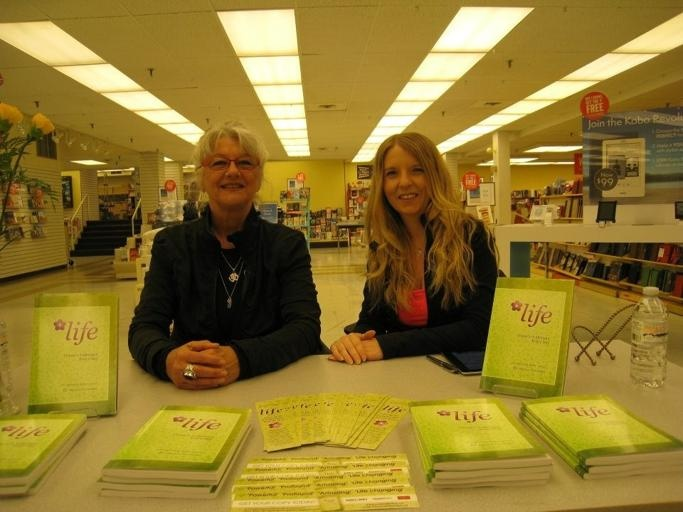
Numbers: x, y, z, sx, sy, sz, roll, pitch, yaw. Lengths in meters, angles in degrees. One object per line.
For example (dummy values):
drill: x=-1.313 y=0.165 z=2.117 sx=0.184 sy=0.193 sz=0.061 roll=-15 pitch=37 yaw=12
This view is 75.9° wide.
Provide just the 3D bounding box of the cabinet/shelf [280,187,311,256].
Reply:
cabinet/shelf: x=-1.255 y=-1.121 z=10.956 sx=0.411 sy=1.163 sz=0.581 roll=3 pitch=9 yaw=-39

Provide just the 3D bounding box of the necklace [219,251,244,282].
necklace: x=-0.445 y=0.043 z=1.759 sx=0.127 sy=0.150 sz=0.010 roll=0 pitch=-19 yaw=-10

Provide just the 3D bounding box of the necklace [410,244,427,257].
necklace: x=0.351 y=-0.031 z=2.047 sx=0.051 sy=0.049 sz=0.012 roll=-11 pitch=-41 yaw=24

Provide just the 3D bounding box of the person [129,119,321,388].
person: x=-0.473 y=0.043 z=1.821 sx=0.759 sy=1.046 sz=0.964 roll=0 pitch=-8 yaw=-10

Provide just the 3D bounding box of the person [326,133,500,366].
person: x=0.306 y=-0.049 z=1.981 sx=0.737 sy=0.958 sz=0.854 roll=-3 pitch=-6 yaw=11

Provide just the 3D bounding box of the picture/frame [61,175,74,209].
picture/frame: x=-11.759 y=-2.780 z=18.892 sx=0.426 sy=1.436 sz=1.095 roll=-6 pitch=9 yaw=-30

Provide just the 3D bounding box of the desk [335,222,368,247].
desk: x=0.287 y=-0.728 z=15.330 sx=1.083 sy=1.017 sz=1.079 roll=-1 pitch=-6 yaw=-1
